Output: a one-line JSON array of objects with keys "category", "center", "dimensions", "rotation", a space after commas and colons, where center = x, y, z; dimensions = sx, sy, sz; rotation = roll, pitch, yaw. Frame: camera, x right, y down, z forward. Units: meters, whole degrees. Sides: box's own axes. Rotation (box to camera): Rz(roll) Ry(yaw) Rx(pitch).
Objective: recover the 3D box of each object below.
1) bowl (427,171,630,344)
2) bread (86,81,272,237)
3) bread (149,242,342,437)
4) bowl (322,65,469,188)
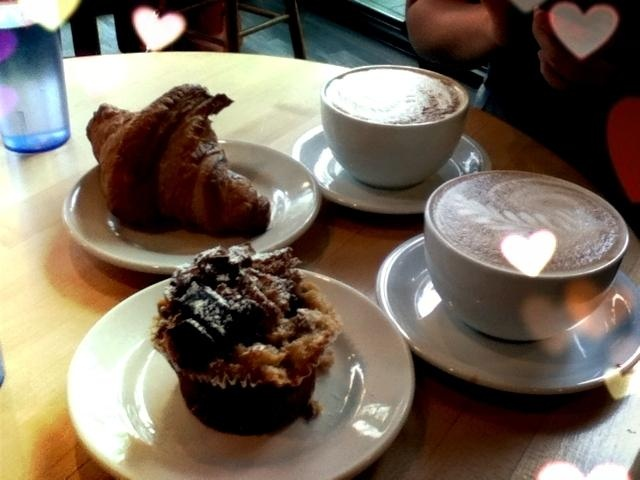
[{"category": "bowl", "center": [0.210, 0.012, 0.642], "dimensions": [0.194, 0.124, 0.199], "rotation": [1, 42, -1]}, {"category": "bread", "center": [-0.240, -0.071, 0.890], "dimensions": [0.276, 0.139, 0.209], "rotation": [39, 55, 11]}, {"category": "bread", "center": [-0.075, 0.101, 0.608], "dimensions": [0.176, 0.131, 0.190], "rotation": [8, 37, 5]}, {"category": "bowl", "center": [0.124, -0.185, 0.933], "dimensions": [0.243, 0.155, 0.248], "rotation": [0, 37, 0]}]
